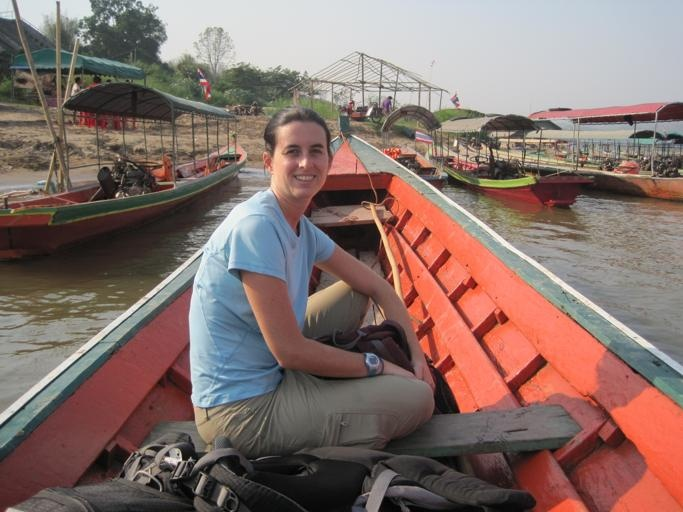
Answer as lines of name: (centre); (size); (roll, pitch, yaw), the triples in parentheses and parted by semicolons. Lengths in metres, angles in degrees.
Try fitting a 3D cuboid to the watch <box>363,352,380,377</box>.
watch: (0.139, 0.510, 2.114); (0.074, 0.095, 0.099); (5, 28, -17)
